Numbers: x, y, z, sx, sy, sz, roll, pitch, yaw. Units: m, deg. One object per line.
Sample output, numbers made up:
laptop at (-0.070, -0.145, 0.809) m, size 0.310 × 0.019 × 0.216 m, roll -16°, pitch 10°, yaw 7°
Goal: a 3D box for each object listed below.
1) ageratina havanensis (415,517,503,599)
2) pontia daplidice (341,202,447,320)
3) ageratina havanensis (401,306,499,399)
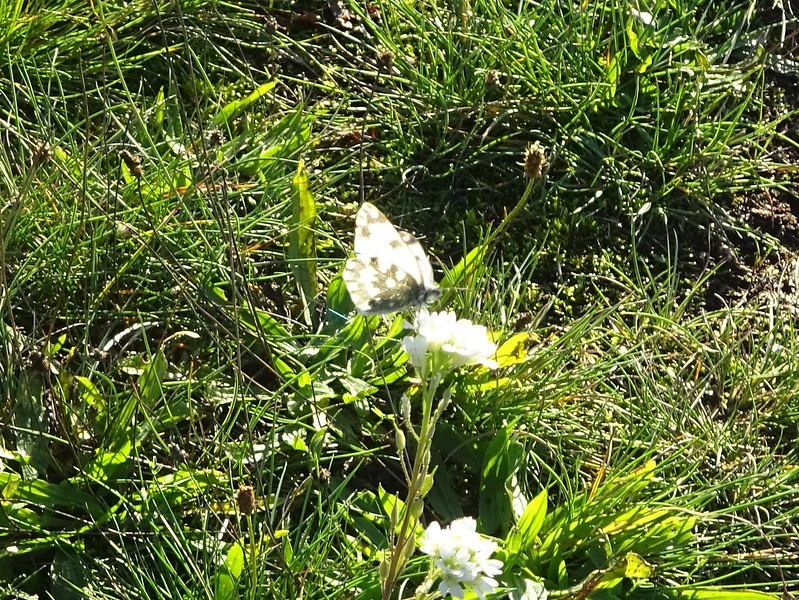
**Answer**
ageratina havanensis at (0.132, 0.599, 2.085) m, size 0.186 × 0.102 × 0.203 m, roll 31°, pitch 41°, yaw -23°
pontia daplidice at (-0.017, -0.082, 2.862) m, size 0.290 × 0.503 × 0.299 m, roll -3°, pitch 82°, yaw 2°
ageratina havanensis at (0.126, 0.088, 2.110) m, size 0.178 × 0.196 × 0.179 m, roll 17°, pitch 98°, yaw 6°
